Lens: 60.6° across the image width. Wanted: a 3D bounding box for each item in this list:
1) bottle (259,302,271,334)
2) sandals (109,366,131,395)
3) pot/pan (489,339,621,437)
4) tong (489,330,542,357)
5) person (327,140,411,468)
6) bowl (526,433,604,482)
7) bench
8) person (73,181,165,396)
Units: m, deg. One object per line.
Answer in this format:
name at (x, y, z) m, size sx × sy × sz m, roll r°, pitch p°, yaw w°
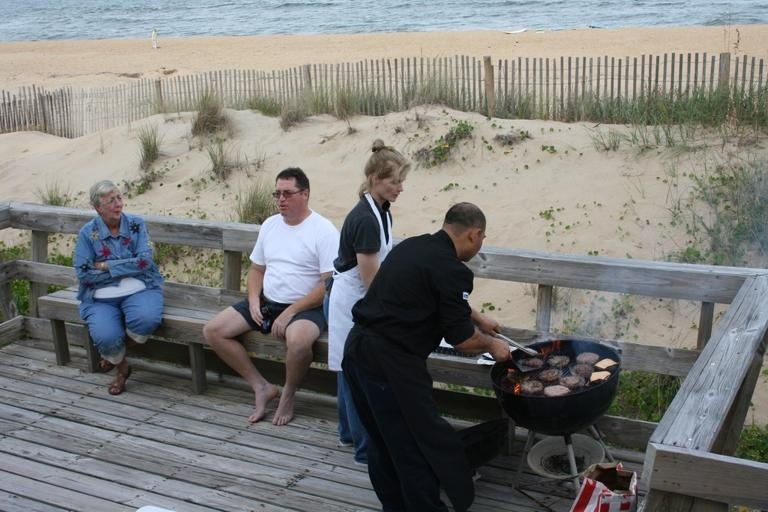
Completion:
bottle at (-1.007, 0.524, 5.626) m, size 0.087 × 0.209 × 0.186 m, roll -2°, pitch 17°, yaw -8°
sandals at (-2.401, 1.125, 6.014) m, size 0.118 × 0.088 × 0.313 m, roll 4°, pitch 34°, yaw 4°
pot/pan at (1.214, 0.965, 4.651) m, size 0.646 × 0.857 × 1.147 m, roll -4°, pitch -1°, yaw -17°
tong at (1.022, 0.673, 4.827) m, size 0.524 × 0.091 × 0.138 m, roll 28°, pitch 6°, yaw -36°
person at (-0.072, 0.423, 5.313) m, size 0.895 × 2.594 × 0.865 m, roll -5°, pitch 18°, yaw -15°
bowl at (1.369, 1.470, 4.860) m, size 0.400 × 0.110 × 0.392 m, roll -11°, pitch 34°, yaw 8°
bench at (-1.444, 1.168, 6.265) m, size 5.701 × 1.146 × 1.178 m, roll 6°, pitch 12°, yaw 22°
person at (-2.429, 0.228, 6.060) m, size 0.821 × 1.925 × 0.807 m, roll 5°, pitch 7°, yaw 42°
